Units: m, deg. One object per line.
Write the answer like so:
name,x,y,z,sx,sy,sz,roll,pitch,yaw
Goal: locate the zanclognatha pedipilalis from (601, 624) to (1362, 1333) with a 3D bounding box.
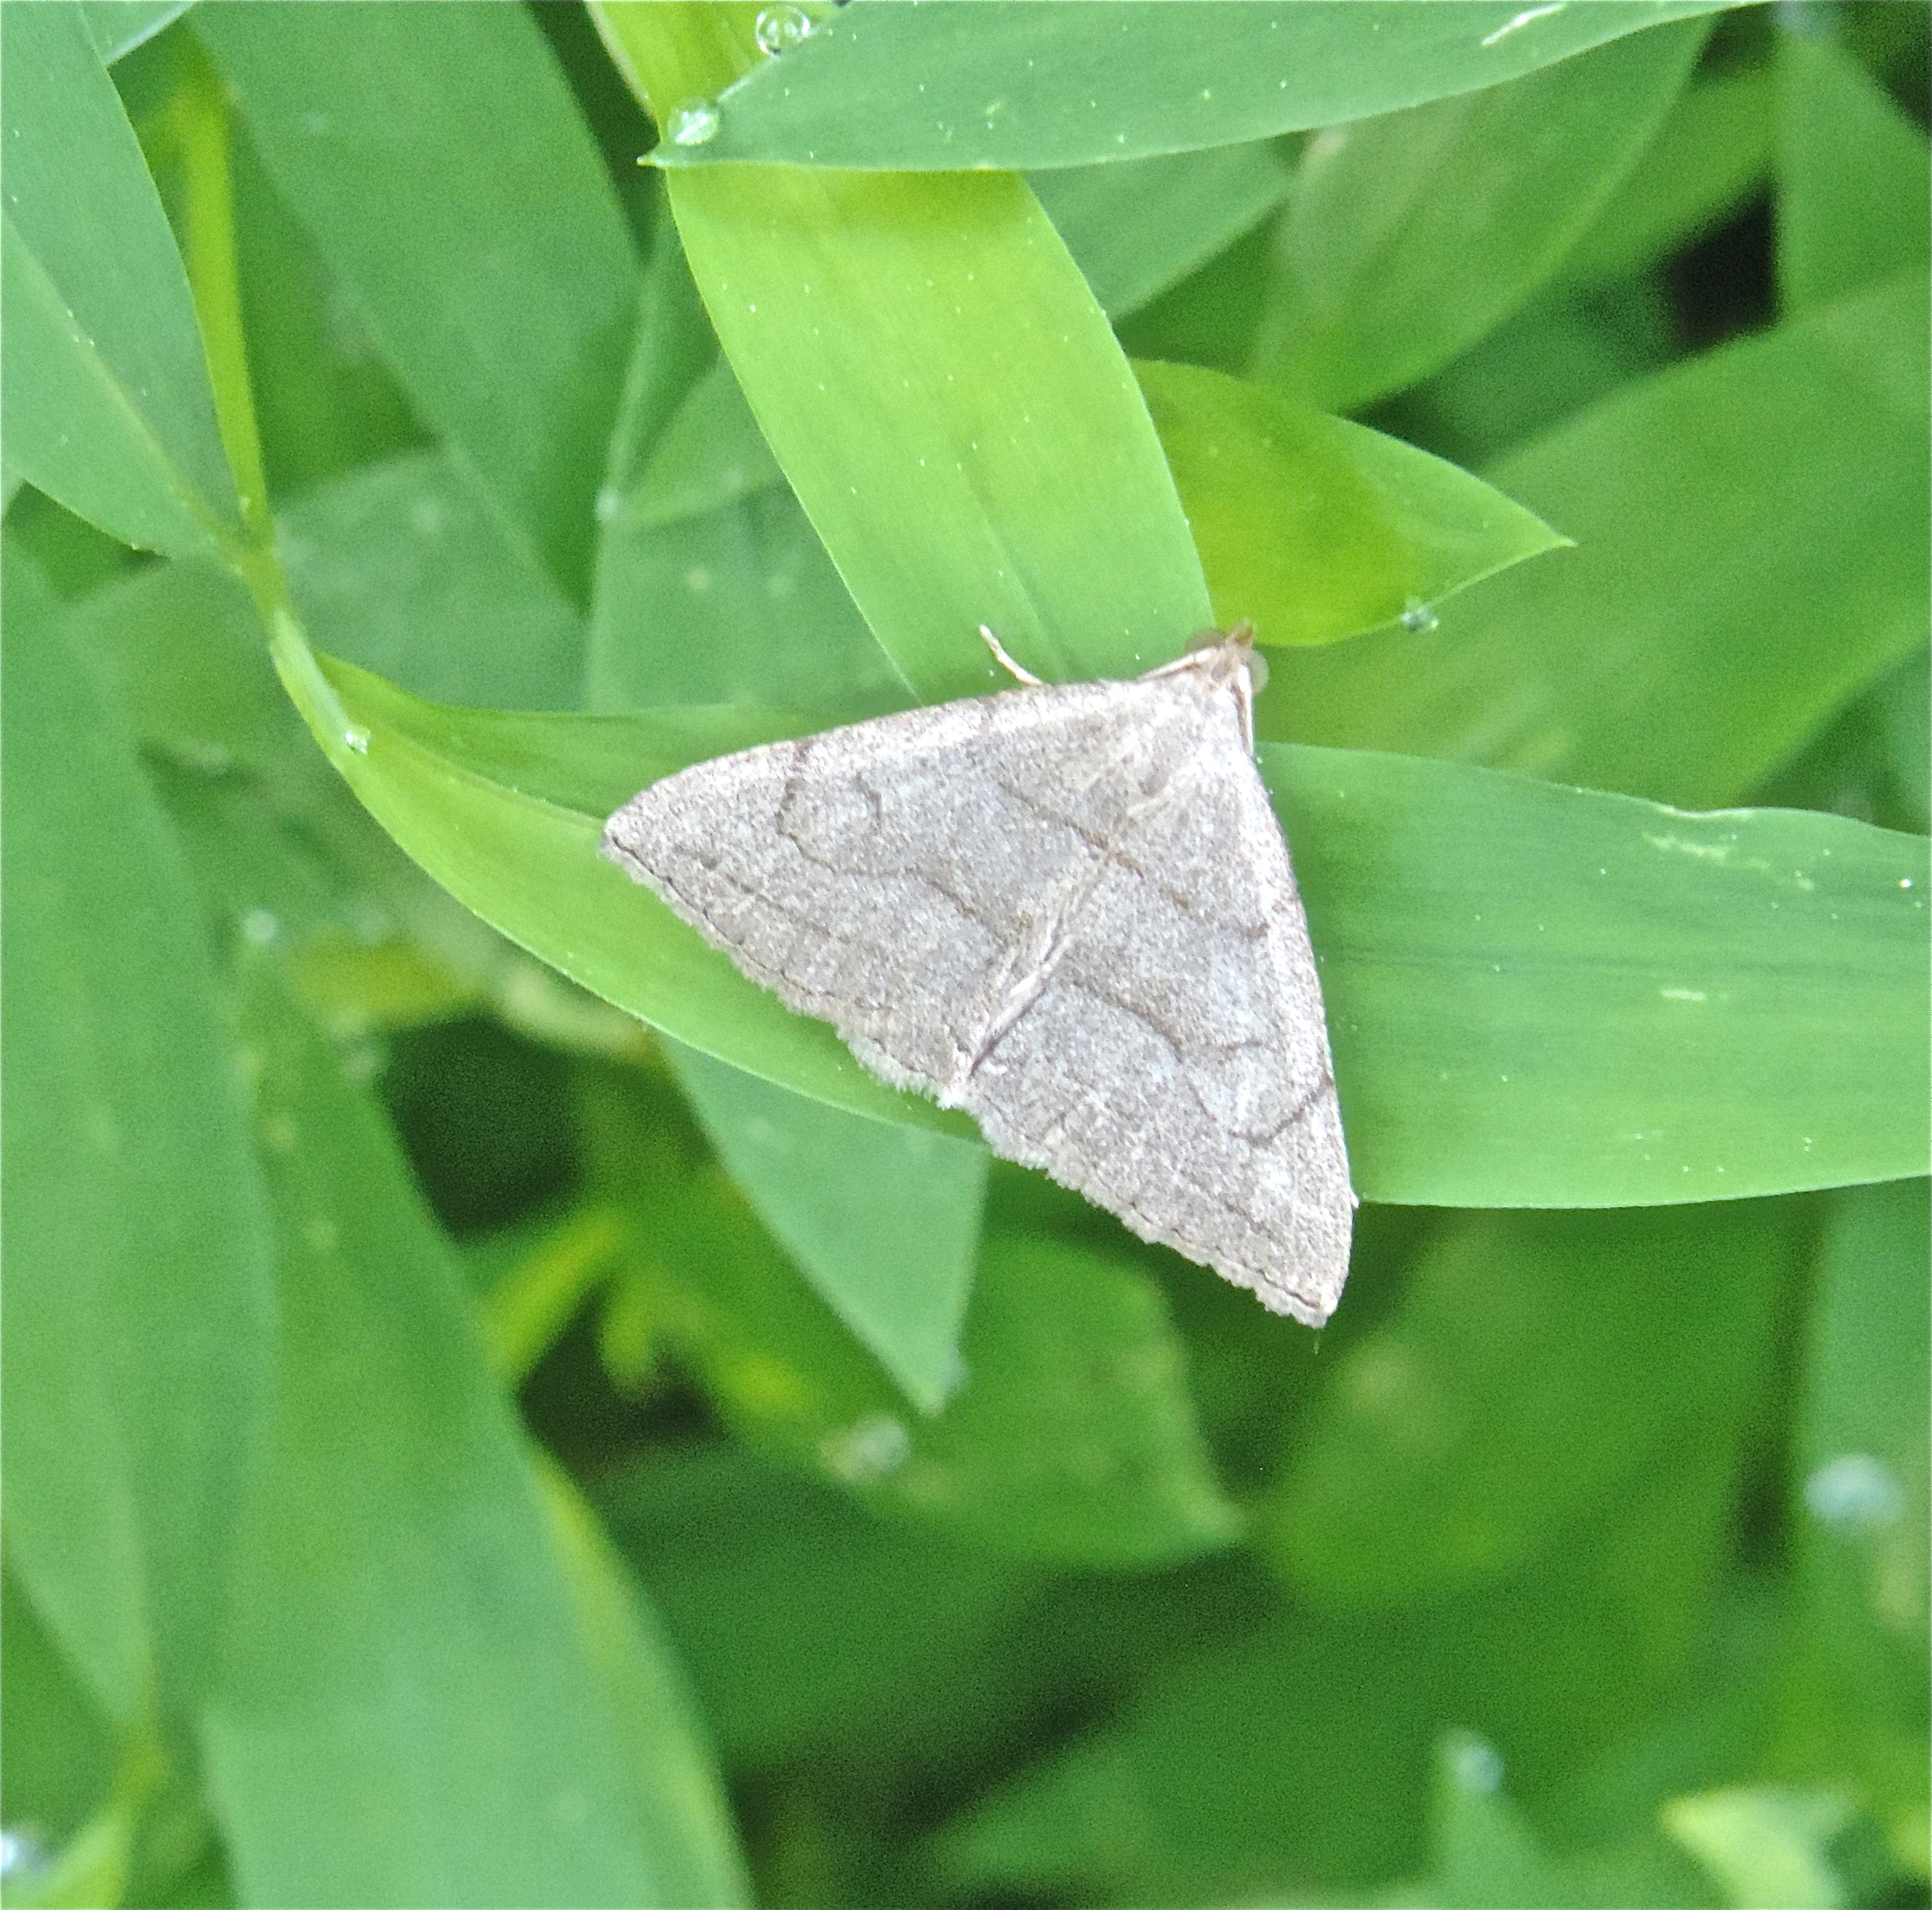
zanclognatha pedipilalis,0.065,-0.030,0.853,0.278,0.214,0.229,20,62,41
